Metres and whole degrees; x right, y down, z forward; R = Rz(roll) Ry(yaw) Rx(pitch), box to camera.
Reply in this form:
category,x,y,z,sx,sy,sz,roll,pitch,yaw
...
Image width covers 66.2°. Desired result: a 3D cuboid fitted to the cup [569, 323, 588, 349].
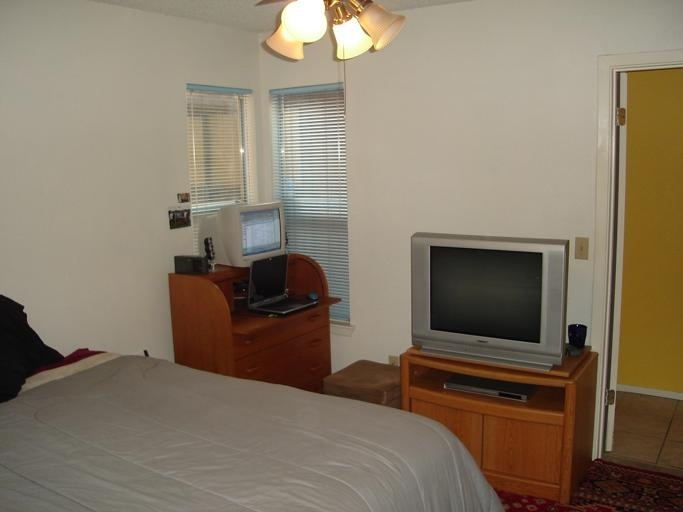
category,x,y,z,sx,sy,sz,roll,pitch,yaw
cup,1.520,0.515,3.379,0.143,0.160,0.138,0,-2,0

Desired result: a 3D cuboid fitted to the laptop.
category,x,y,z,sx,sy,sz,roll,pitch,yaw
laptop,-0.431,0.214,3.923,0.391,0.457,0.659,3,10,23

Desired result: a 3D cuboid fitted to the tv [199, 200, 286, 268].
category,x,y,z,sx,sy,sz,roll,pitch,yaw
tv,-0.751,-0.222,4.014,0.526,0.393,0.530,8,14,34

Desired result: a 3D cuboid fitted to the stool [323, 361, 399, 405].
category,x,y,z,sx,sy,sz,roll,pitch,yaw
stool,0.181,0.855,3.800,0.322,0.212,0.331,2,8,27

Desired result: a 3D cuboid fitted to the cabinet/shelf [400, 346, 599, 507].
category,x,y,z,sx,sy,sz,roll,pitch,yaw
cabinet/shelf,1.081,0.884,3.565,1.401,1.097,0.822,5,11,27
